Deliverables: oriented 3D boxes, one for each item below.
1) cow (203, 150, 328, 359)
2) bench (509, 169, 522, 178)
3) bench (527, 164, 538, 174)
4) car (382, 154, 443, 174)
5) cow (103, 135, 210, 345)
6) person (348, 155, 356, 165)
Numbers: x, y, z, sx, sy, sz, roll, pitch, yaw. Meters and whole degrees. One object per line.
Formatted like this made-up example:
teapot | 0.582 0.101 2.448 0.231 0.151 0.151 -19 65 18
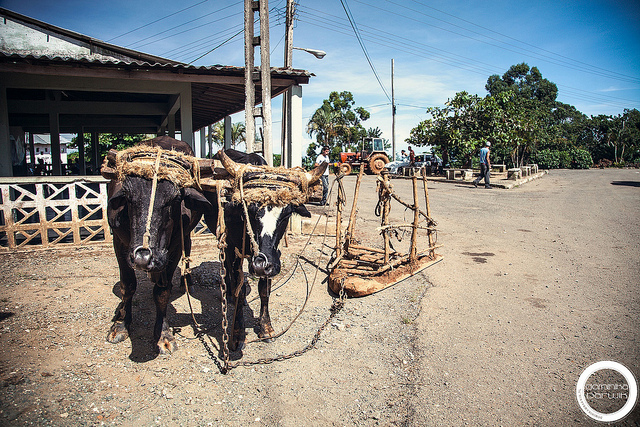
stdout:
cow | -1.261 0.544 7.666 1.859 3.107 4.497 1 10 -16
bench | 9.879 -2.024 21.527 0.483 0.415 0.961 2 10 16
bench | 13.565 -2.947 27.349 0.725 0.518 0.740 4 6 37
car | 5.973 -3.311 28.553 3.216 1.272 5.918 3 10 24
cow | -2.425 0.398 6.159 1.349 3.036 1.953 -6 11 -29
person | 2.580 -4.355 33.426 0.489 0.513 1.011 0 9 4
